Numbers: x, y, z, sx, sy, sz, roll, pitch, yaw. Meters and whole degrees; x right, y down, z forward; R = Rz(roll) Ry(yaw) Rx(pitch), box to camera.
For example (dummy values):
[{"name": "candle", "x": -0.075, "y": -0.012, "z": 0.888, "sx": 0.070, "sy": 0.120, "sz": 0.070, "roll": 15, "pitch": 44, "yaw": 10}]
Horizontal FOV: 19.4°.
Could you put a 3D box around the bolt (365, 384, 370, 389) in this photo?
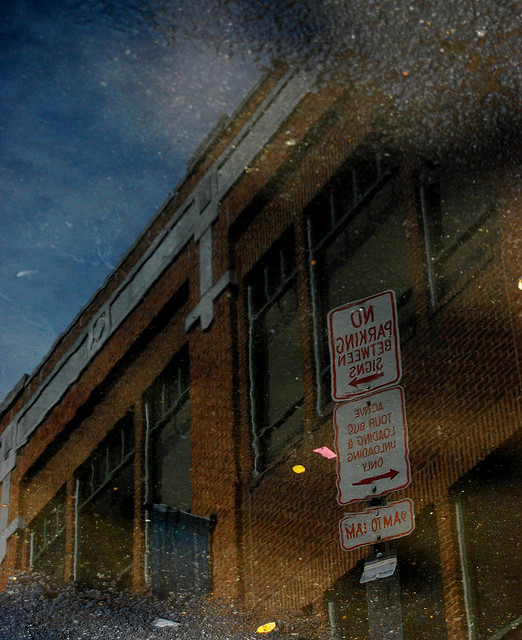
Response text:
[{"name": "bolt", "x": 1.404, "y": 0.870, "z": 20.110, "sx": 0.049, "sy": 0.047, "sz": 0.015, "roll": -8, "pitch": -13, "yaw": 32}]

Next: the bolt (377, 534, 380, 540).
[{"name": "bolt", "x": 1.480, "y": 2.734, "z": 19.231, "sx": 0.032, "sy": 0.040, "sz": 0.036, "roll": -9, "pitch": -35, "yaw": 9}]

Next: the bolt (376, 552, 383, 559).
[{"name": "bolt", "x": 1.507, "y": 2.989, "z": 19.350, "sx": 0.054, "sy": 0.070, "sz": 0.069, "roll": 6, "pitch": 3, "yaw": 6}]

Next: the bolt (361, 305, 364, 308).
[{"name": "bolt", "x": 1.369, "y": -0.184, "z": 20.644, "sx": 0.038, "sy": 0.033, "sz": 0.009, "roll": -2, "pitch": -8, "yaw": 31}]
